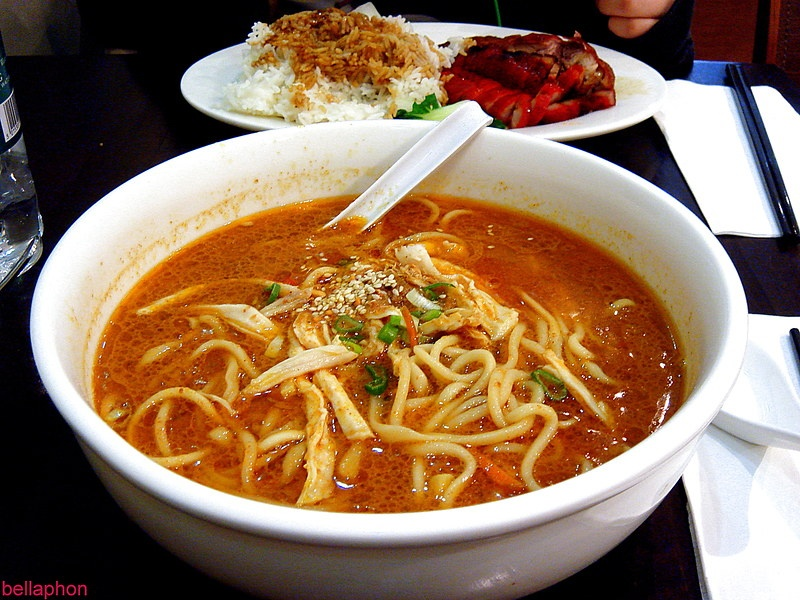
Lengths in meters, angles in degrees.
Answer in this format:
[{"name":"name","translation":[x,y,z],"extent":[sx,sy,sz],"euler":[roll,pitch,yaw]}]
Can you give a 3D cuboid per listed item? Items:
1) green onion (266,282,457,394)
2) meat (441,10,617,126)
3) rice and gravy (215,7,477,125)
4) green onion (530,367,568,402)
[{"name":"green onion","translation":[-0.271,0.027,1.690],"extent":[0.672,0.171,0.449],"euler":[-9,22,-39]},{"name":"meat","translation":[0.563,-0.945,2.700],"extent":[0.771,0.244,0.499],"euler":[-2,47,3]},{"name":"rice and gravy","translation":[-0.268,-1.058,3.123],"extent":[1.381,0.653,0.700],"euler":[2,24,-2]},{"name":"green onion","translation":[0.345,0.193,1.422],"extent":[0.078,0.017,0.049],"euler":[38,84,30]}]
